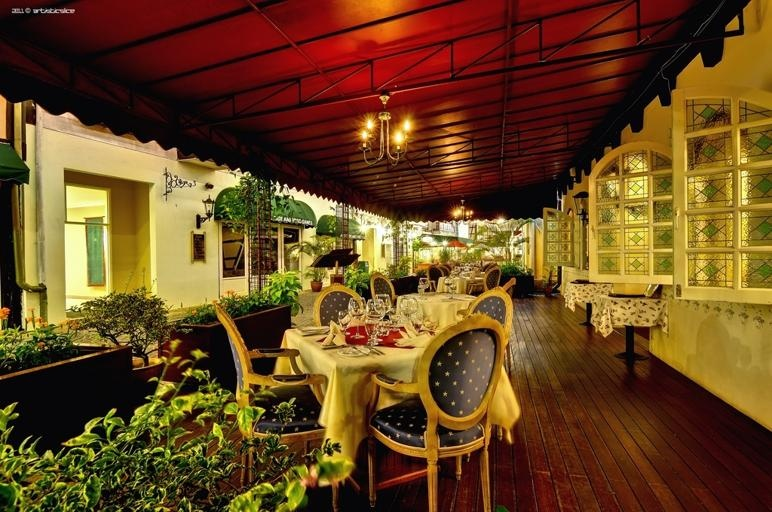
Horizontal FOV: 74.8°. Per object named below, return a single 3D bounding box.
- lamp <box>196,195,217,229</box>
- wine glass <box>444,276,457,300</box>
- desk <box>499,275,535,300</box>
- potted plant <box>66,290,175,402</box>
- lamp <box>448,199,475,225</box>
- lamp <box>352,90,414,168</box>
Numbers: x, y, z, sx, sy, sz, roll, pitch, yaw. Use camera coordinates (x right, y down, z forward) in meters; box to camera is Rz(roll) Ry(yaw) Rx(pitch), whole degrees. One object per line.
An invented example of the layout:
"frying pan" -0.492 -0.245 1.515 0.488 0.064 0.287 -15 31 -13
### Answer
"lamp" -4.450 -1.033 12.543 0.173 0.865 0.631 -1 0 19
"wine glass" 1.228 0.661 9.829 0.225 0.534 0.258 -1 -13 1
"desk" 3.188 0.813 12.261 0.674 0.519 0.398 0 -3 -2
"potted plant" -3.296 0.958 6.448 1.020 1.395 0.455 -1 0 -26
"lamp" 2.458 -1.437 16.434 0.563 0.680 0.860 -1 0 -28
"lamp" -0.054 -2.160 9.408 0.763 1.000 0.819 -3 -13 23
